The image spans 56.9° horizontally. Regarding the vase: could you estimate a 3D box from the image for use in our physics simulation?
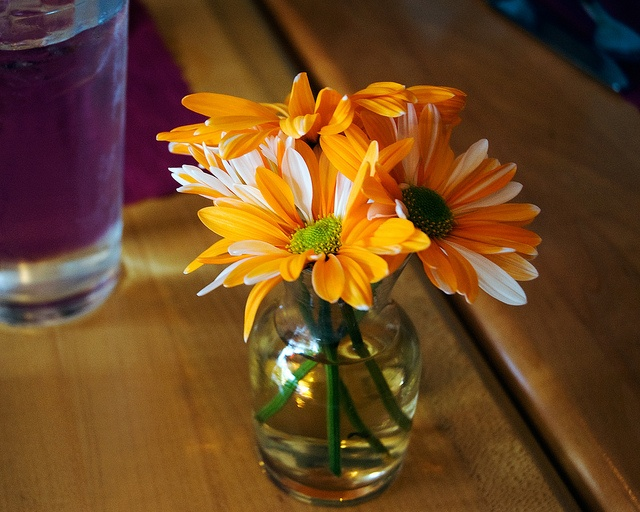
[{"bbox_3d":[0.007,0.084,0.368,0.097,0.169,0.102,-6,47,-6],"label":"vase"}]

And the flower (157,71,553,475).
[{"bbox_3d":[0.026,0.015,0.384,0.176,0.215,0.192,-31,44,-14],"label":"flower"}]
